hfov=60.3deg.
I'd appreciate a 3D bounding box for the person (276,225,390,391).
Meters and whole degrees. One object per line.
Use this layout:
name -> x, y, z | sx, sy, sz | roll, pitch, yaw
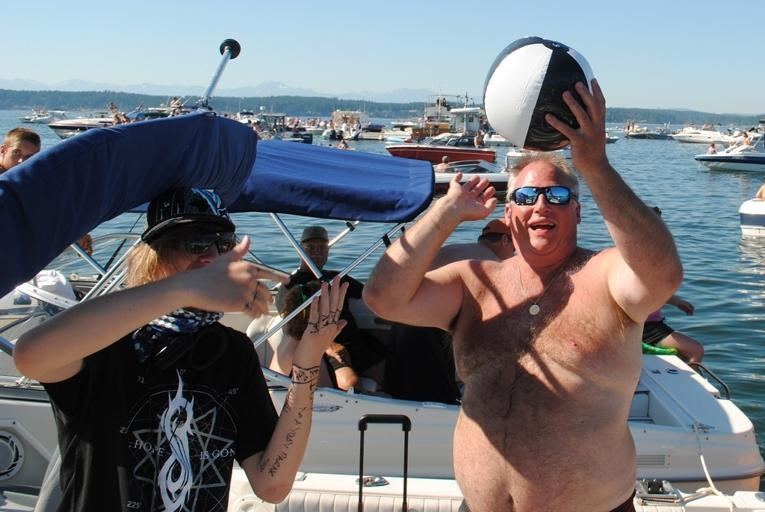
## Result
person -> -0.275, 0.360, 5.910 | 1.087, 1.418, 1.273 | -13, 12, -41
